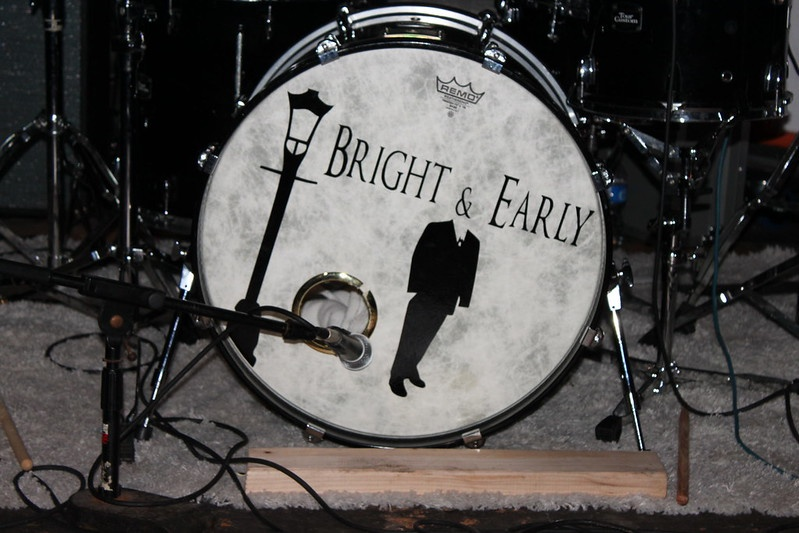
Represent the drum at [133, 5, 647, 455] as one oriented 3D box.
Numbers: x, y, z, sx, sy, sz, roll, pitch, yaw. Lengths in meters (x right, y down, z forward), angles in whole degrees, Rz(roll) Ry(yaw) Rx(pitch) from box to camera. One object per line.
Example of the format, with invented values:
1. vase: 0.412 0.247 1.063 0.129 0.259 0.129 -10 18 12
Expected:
1. drum: -0.013 -0.092 2.928 1.069 0.937 0.466 1 6 1
